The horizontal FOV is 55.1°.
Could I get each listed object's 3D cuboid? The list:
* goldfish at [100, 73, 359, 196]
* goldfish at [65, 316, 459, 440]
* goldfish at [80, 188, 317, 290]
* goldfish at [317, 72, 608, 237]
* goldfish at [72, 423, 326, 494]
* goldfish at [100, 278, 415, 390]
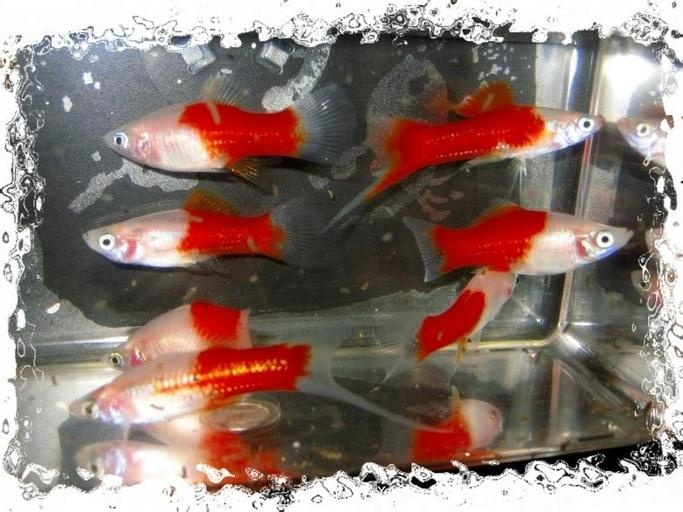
[{"bbox_3d":[-0.174,-0.189,0.967,0.374,0.156,0.053,-2,22,6],"label":"goldfish"},{"bbox_3d":[-0.123,0.191,0.949,0.521,0.125,0.085,-1,14,-6],"label":"goldfish"},{"bbox_3d":[-0.210,-0.033,0.993,0.355,0.136,0.048,-2,14,-6],"label":"goldfish"},{"bbox_3d":[0.194,-0.173,0.972,0.417,0.153,0.095,-10,-1,-4],"label":"goldfish"},{"bbox_3d":[-0.203,0.295,0.914,0.310,0.100,0.040,0,0,-2],"label":"goldfish"},{"bbox_3d":[-0.143,0.120,1.002,0.376,0.088,0.148,-1,18,-10],"label":"goldfish"}]
